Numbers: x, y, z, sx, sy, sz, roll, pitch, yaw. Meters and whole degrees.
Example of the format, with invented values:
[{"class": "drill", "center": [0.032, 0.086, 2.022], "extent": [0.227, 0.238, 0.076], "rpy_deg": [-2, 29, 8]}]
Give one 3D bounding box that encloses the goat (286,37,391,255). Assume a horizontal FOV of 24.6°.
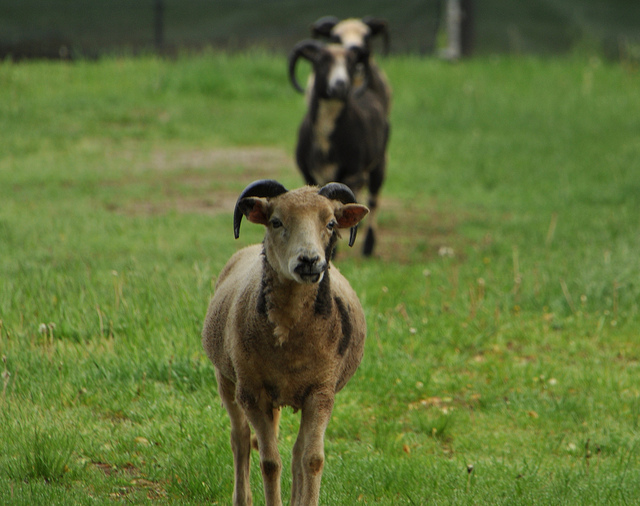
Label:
[{"class": "goat", "center": [0.335, -1.388, 19.894], "extent": [0.969, 2.806, 3.679], "rpy_deg": [3, 0, 9]}]
